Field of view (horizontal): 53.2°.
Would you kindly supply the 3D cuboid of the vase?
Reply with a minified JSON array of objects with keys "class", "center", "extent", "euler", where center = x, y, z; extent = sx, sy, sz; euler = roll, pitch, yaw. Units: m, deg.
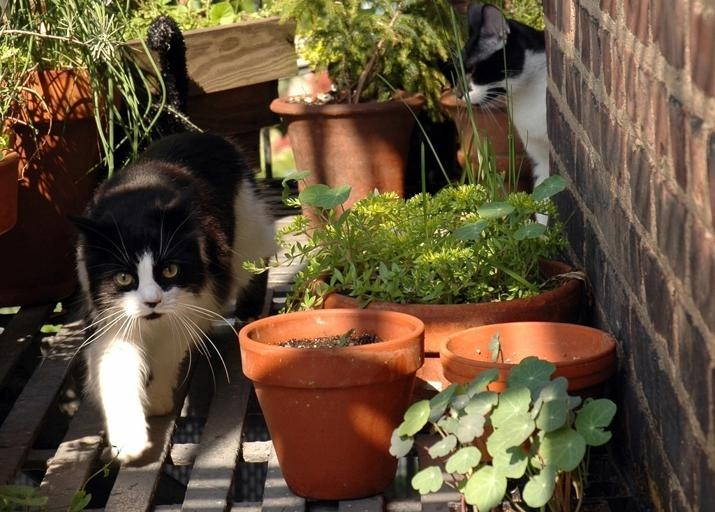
[{"class":"vase","center":[0.155,0.376,1.711],"extent":[0.737,0.307,0.518],"euler":[3,11,19]}]

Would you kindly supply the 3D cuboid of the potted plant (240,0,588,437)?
[{"class":"potted plant","center":[0.151,-0.152,2.602],"extent":[1.295,1.003,1.323],"euler":[-2,15,3]}]
